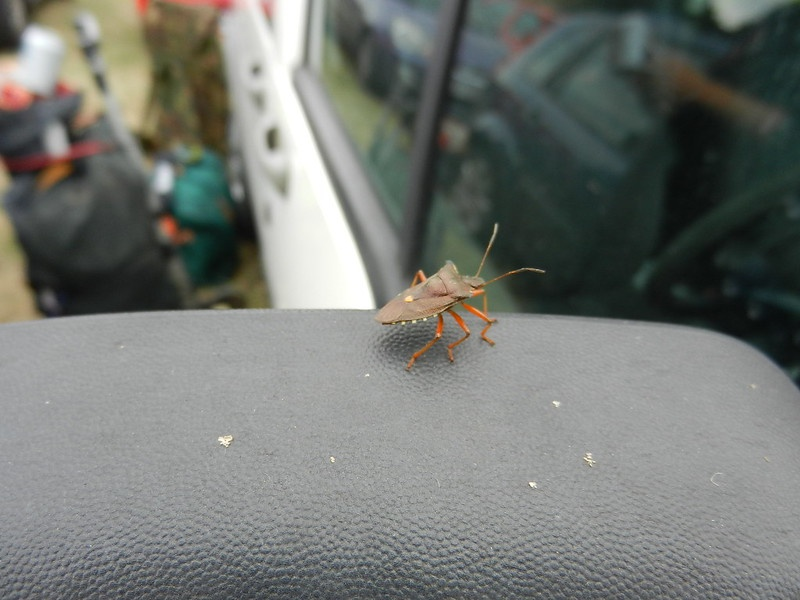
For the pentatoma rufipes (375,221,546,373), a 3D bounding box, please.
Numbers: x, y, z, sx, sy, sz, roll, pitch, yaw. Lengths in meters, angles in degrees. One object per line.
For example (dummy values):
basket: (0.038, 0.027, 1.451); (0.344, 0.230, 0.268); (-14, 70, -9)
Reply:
pentatoma rufipes: (0.150, 0.014, 1.835); (0.255, 0.359, 0.126); (-8, 82, -48)
